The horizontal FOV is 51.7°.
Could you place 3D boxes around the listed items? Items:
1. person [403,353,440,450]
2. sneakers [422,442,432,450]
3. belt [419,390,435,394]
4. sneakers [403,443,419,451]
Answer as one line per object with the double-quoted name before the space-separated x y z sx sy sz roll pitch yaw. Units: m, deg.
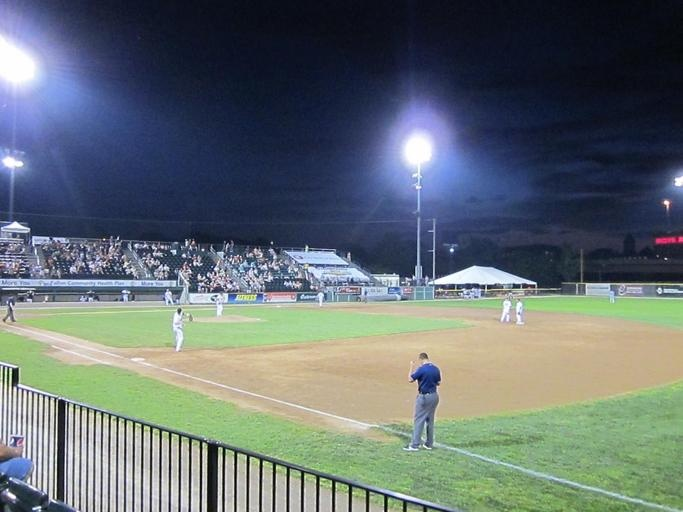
"person" 1.992 3.494 17.180 0.778 2.208 1.166 0 -3 8
"sneakers" 2.018 4.518 16.755 0.290 0.103 0.202 -1 -4 30
"belt" 2.061 3.242 16.831 0.350 0.099 0.129 1 -3 -11
"sneakers" 1.632 4.514 16.657 0.360 0.164 0.130 -1 -9 21
